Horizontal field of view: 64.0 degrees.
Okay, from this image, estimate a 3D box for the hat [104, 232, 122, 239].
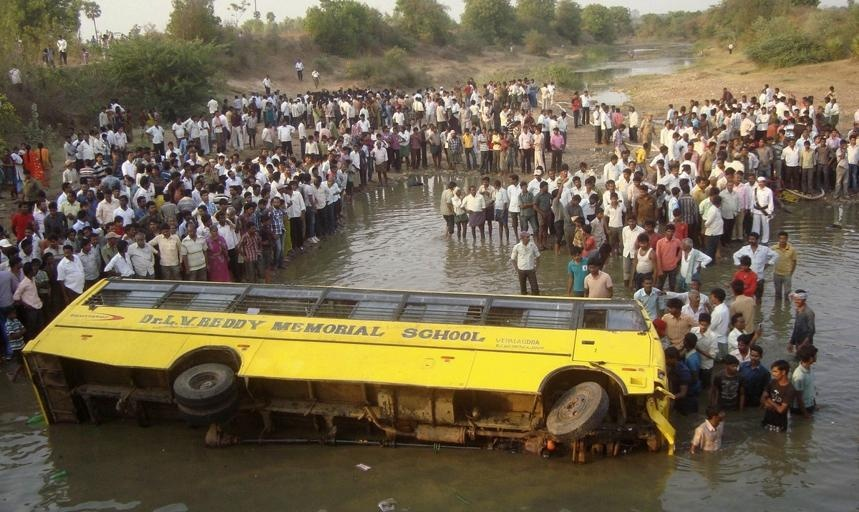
[{"bbox_3d":[-8.892,-0.573,19.474,0.248,0.119,0.349,4,6,33],"label":"hat"}]
